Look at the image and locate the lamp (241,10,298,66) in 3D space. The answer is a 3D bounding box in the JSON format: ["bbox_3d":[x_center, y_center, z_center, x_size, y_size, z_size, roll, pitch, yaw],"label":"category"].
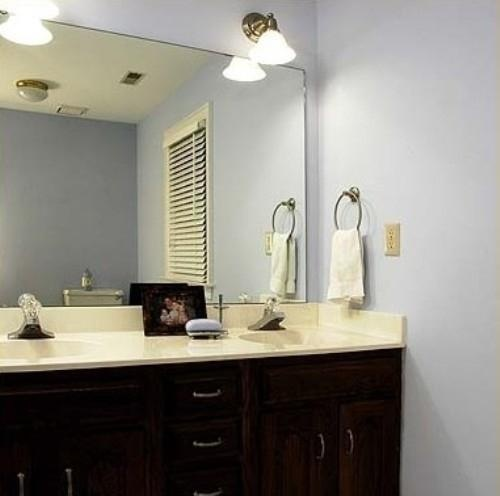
[{"bbox_3d":[0.060,-0.903,1.977,0.163,0.298,0.131,-8,-33,-17],"label":"lamp"}]

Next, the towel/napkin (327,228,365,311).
[{"bbox_3d":[0.388,0.069,1.930,0.150,0.282,0.061,-3,-2,40],"label":"towel/napkin"}]

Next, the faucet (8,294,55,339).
[{"bbox_3d":[-0.759,0.253,1.632,0.163,0.215,0.132,2,-11,-22],"label":"faucet"}]

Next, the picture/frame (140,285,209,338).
[{"bbox_3d":[-0.304,0.256,1.837,0.163,0.166,0.017,5,-37,-15],"label":"picture/frame"}]

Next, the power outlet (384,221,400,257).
[{"bbox_3d":[0.533,-0.028,1.785,0.015,0.129,0.086,-1,-2,-24],"label":"power outlet"}]
